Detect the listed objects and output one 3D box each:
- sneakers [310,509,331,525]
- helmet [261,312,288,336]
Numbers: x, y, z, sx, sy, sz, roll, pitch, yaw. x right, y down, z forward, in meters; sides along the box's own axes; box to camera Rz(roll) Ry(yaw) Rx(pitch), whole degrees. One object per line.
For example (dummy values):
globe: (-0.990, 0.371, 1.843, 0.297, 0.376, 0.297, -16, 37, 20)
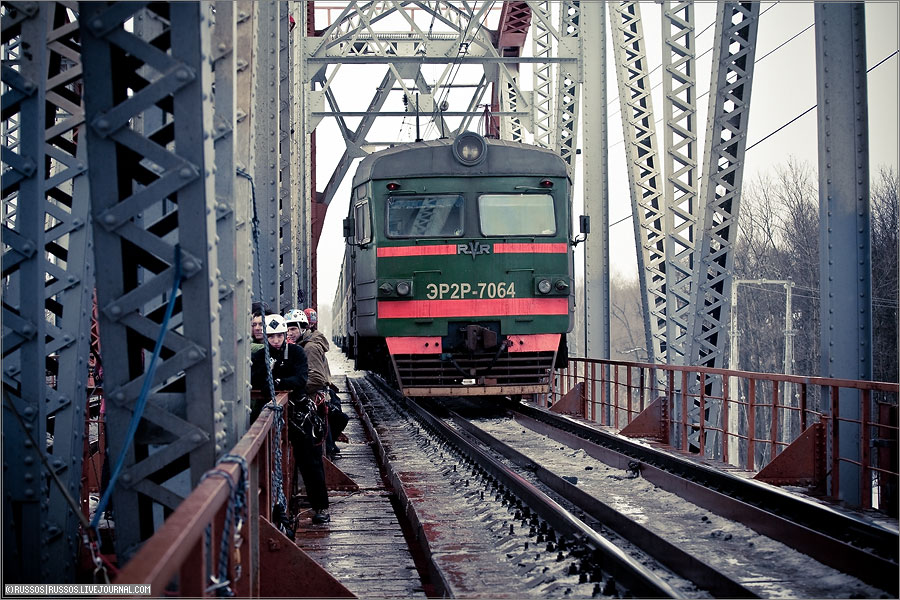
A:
sneakers: (-1.540, 2.545, 12.130, 0.104, 0.206, 0.274, -4, -22, 7)
helmet: (-2.001, 0.263, 11.646, 0.182, 0.249, 0.258, 3, -21, -22)
